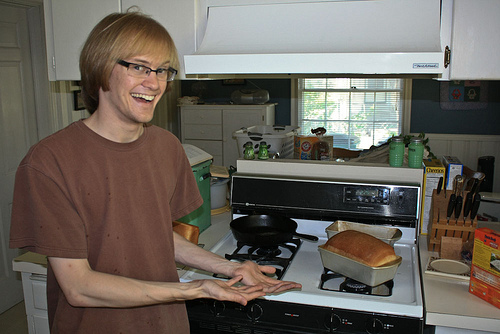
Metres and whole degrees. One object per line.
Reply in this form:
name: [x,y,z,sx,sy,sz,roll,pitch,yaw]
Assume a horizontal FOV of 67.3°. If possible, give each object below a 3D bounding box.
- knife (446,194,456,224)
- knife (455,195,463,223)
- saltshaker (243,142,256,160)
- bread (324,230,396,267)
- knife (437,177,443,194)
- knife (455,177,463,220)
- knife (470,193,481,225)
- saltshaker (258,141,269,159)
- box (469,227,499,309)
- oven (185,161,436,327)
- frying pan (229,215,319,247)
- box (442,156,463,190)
knife: [1.033,0.216,1.950,0.027,0.145,0.027,6,7,-39]
knife: [1.073,0.211,1.939,0.029,0.128,0.034,4,-6,21]
saltshaker: [-0.003,-0.098,2.373,0.089,0.111,0.088,-1,8,-6]
bread: [0.518,0.374,1.791,0.159,0.066,0.217,-15,19,-39]
knife: [1.044,0.096,2.066,0.023,0.078,0.103,4,11,30]
knife: [1.104,0.155,1.977,0.035,0.215,0.132,4,11,30]
knife: [1.182,0.205,1.975,0.038,0.173,0.157,4,11,30]
saltshaker: [0.088,-0.101,2.430,0.086,0.112,0.088,1,3,29]
box: [1.064,0.442,1.686,0.126,0.322,0.081,8,13,44]
oven: [0.328,0.415,2.079,1.189,1.107,0.830,3,6,16]
frying pan: [0.102,0.335,2.054,0.335,0.055,0.218,6,9,31]
box: [1.153,0.037,2.144,0.062,0.163,0.195,1,5,17]
